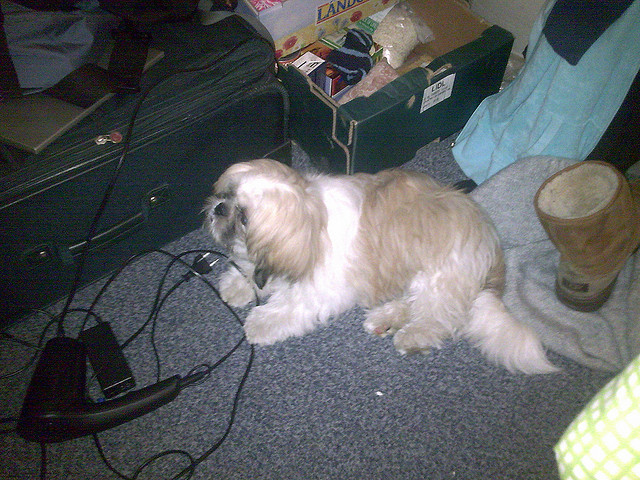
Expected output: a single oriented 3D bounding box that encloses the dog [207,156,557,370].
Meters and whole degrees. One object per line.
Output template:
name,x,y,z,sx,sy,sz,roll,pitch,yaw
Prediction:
dog,0.232,0.049,2.123,1.439,0.524,0.633,7,30,1
